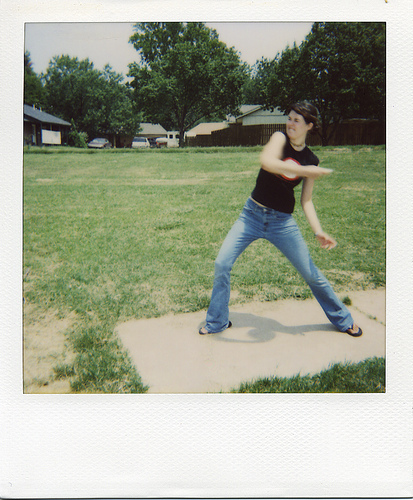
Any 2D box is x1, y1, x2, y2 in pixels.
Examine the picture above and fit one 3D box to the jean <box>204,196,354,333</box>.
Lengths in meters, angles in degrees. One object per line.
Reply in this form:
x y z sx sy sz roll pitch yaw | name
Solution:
0.628 -0.035 4.109 1.369 1.761 0.533 1 28 6 | jean
